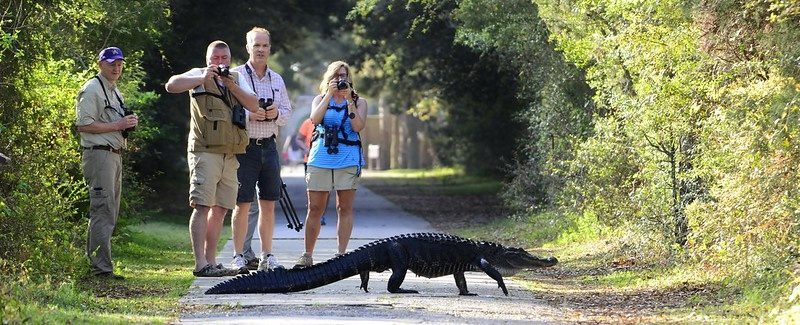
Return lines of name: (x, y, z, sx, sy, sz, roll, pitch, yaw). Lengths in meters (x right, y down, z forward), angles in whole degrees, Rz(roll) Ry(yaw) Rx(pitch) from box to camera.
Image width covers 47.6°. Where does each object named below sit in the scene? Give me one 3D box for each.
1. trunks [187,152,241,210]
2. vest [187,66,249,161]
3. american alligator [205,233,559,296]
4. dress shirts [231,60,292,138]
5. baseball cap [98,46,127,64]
trunks: (-4.156, 0.375, 20.326, 0.804, 1.402, 1.097, -10, -14, 37)
vest: (-4.132, -1.096, 20.571, 0.894, 2.236, 1.171, 0, 1, -23)
american alligator: (-0.135, 2.351, 20.456, 7.734, 1.202, 2.063, 2, -8, -15)
dress shirts: (-3.353, -1.522, 20.993, 1.614, 1.676, 0.975, 8, -6, -34)
baseball cap: (-6.520, -2.447, 20.305, 0.343, 0.228, 0.482, -4, 5, -42)
